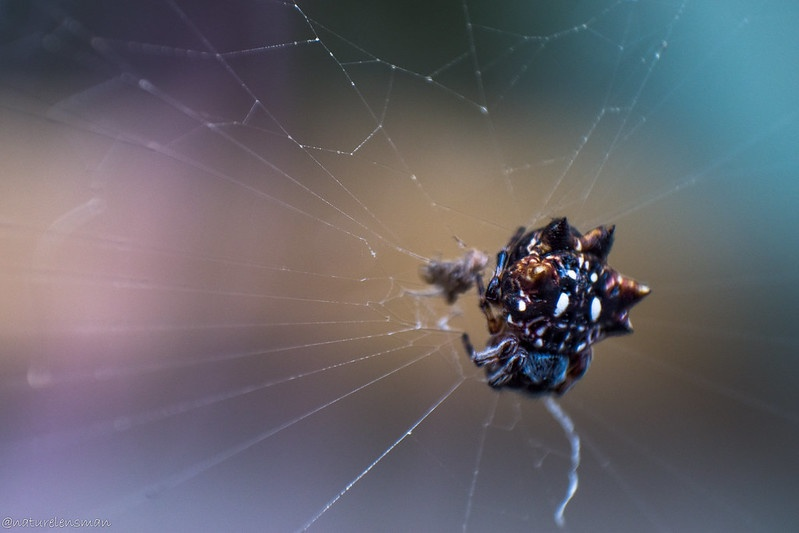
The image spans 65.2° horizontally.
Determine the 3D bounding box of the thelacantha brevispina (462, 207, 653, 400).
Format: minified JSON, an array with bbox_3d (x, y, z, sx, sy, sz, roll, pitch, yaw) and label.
[{"bbox_3d":[0.291,0.056,1.278,0.322,0.125,0.343,38,-90,-9],"label":"thelacantha brevispina"}]
